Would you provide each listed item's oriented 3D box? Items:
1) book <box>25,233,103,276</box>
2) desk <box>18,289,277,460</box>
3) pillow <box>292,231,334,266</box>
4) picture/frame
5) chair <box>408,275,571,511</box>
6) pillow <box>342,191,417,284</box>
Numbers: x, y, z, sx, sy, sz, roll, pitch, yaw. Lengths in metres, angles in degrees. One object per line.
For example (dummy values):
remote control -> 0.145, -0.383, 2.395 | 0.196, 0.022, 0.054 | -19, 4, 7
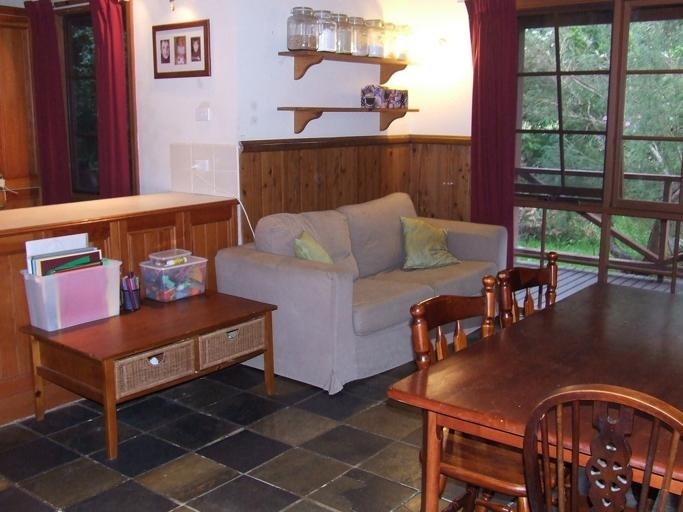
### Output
book -> -1.540, -0.007, 3.142 | 0.284, 0.080, 0.268 | -8, 25, -40
desk -> -1.120, 0.638, 3.438 | 0.878, 0.572, 1.173 | 7, 12, 41
pillow -> -0.206, -0.048, 3.923 | 0.229, 0.187, 0.314 | -9, 16, -22
picture/frame -> -1.180, -1.553, 4.245 | 0.471, 0.360, 0.021 | 5, 9, 29
chair -> 0.540, 0.525, 2.080 | 0.304, 0.570, 0.938 | 6, 14, 34
pillow -> 0.304, -0.139, 4.565 | 0.616, 0.607, 0.266 | -15, 4, -41
